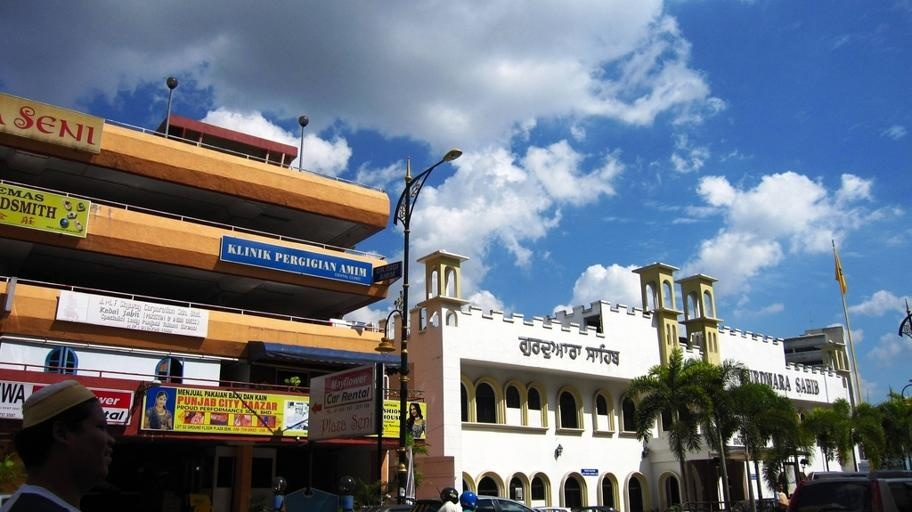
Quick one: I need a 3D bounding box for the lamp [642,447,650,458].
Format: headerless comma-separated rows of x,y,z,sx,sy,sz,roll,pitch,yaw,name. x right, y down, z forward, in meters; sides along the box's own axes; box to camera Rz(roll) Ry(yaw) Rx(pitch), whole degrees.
16.025,16.738,57.220,0.911,0.805,0.203,12,-26,-28,lamp
